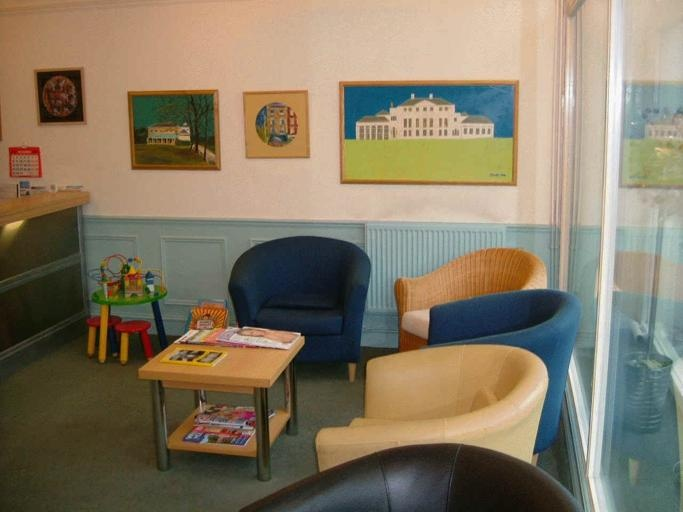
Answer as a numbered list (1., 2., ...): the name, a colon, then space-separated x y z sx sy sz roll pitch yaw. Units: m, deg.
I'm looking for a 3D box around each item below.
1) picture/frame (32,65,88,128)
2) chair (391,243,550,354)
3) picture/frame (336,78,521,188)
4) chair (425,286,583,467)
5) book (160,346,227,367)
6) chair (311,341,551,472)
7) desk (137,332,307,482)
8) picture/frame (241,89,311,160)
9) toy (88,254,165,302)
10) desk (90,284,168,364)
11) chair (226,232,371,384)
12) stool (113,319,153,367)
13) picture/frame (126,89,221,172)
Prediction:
1. picture/frame: -2.896 -1.638 5.570 0.016 0.544 0.552 20 26 22
2. chair: 0.998 0.475 4.343 1.006 0.996 1.137 -7 7 -21
3. picture/frame: 0.798 -1.136 5.045 1.632 0.951 0.027 0 3 4
4. chair: 0.974 0.729 3.485 1.001 1.116 1.072 0 10 -2
5. book: -0.933 0.643 3.431 0.332 0.023 0.255 3 8 0
6. chair: 0.449 0.666 2.495 0.805 0.754 0.804 1 8 12
7. desk: -0.752 0.955 3.581 0.878 0.738 0.620 2 14 10
8. picture/frame: -0.610 -1.289 5.228 0.675 0.611 0.068 2 8 7
9. toy: -2.069 0.250 5.150 0.648 0.270 0.627 -4 14 -34
10. desk: -2.028 0.683 5.222 0.686 0.570 0.697 -3 5 -30
11. chair: -0.356 0.447 4.877 1.211 1.172 1.022 2 6 -3
12. stool: -1.949 0.795 5.059 0.366 0.335 0.375 3 10 10
13. picture/frame: -1.649 -1.276 5.407 0.846 0.661 0.038 2 14 11
